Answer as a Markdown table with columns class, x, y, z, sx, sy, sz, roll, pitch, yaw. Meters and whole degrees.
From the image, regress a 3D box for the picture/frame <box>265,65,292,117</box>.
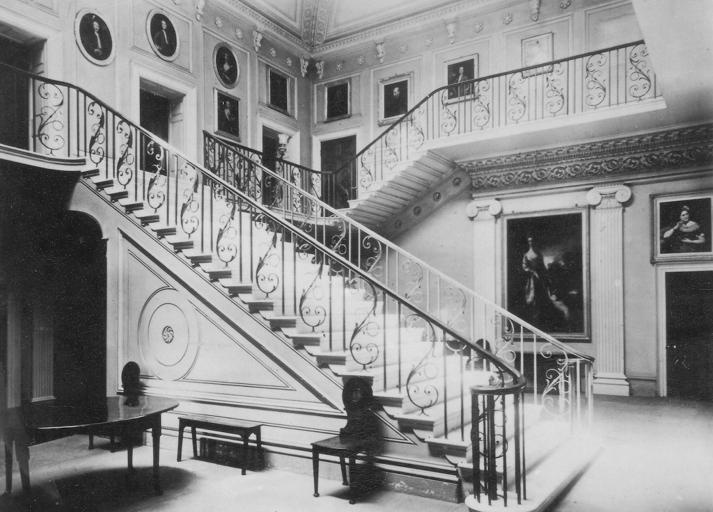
| class | x | y | z | sx | sy | sz | roll | pitch | yaw |
| --- | --- | --- | --- | --- | --- | --- | --- | --- | --- |
| picture/frame | -1.463 | -3.048 | 14.941 | 0.061 | 0.844 | 0.831 | -2 | -5 | 28 |

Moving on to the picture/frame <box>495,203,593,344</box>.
| class | x | y | z | sx | sy | sz | roll | pitch | yaw |
| --- | --- | --- | --- | --- | --- | --- | --- | --- | --- |
| picture/frame | 3.023 | 0.347 | 12.959 | 1.349 | 2.035 | 0.188 | -6 | -11 | 28 |

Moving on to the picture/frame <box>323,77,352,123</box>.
| class | x | y | z | sx | sy | sz | roll | pitch | yaw |
| --- | --- | --- | --- | --- | --- | --- | --- | --- | --- |
| picture/frame | -0.358 | -2.956 | 15.336 | 0.866 | 0.976 | 0.083 | -1 | -2 | 43 |

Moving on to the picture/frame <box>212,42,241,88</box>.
| class | x | y | z | sx | sy | sz | roll | pitch | yaw |
| --- | --- | --- | --- | --- | --- | --- | --- | --- | --- |
| picture/frame | -2.235 | -3.229 | 13.858 | 0.039 | 0.779 | 0.774 | -22 | 33 | -40 |

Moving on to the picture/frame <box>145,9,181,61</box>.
| class | x | y | z | sx | sy | sz | roll | pitch | yaw |
| --- | --- | --- | --- | --- | --- | --- | --- | --- | --- |
| picture/frame | -3.063 | -3.458 | 12.786 | 0.124 | 0.714 | 0.659 | -6 | -11 | 28 |

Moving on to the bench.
| class | x | y | z | sx | sy | sz | roll | pitch | yaw |
| --- | --- | --- | --- | --- | --- | --- | --- | --- | --- |
| bench | -1.618 | 2.177 | 9.410 | 0.978 | 0.564 | 0.349 | 2 | 2 | 27 |

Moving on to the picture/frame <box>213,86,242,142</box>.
| class | x | y | z | sx | sy | sz | roll | pitch | yaw |
| --- | --- | --- | --- | --- | --- | --- | --- | --- | --- |
| picture/frame | -2.213 | -2.395 | 13.851 | 0.108 | 0.743 | 0.676 | -6 | -11 | 28 |

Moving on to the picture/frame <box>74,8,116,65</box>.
| class | x | y | z | sx | sy | sz | roll | pitch | yaw |
| --- | --- | --- | --- | --- | --- | --- | --- | --- | --- |
| picture/frame | -3.859 | -3.204 | 11.822 | 0.085 | 0.840 | 0.716 | -5 | 16 | 25 |

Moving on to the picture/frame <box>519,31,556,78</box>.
| class | x | y | z | sx | sy | sz | roll | pitch | yaw |
| --- | --- | --- | --- | --- | --- | --- | --- | --- | --- |
| picture/frame | 2.923 | -3.241 | 13.132 | 0.531 | 0.988 | 0.822 | -2 | -10 | 12 |
